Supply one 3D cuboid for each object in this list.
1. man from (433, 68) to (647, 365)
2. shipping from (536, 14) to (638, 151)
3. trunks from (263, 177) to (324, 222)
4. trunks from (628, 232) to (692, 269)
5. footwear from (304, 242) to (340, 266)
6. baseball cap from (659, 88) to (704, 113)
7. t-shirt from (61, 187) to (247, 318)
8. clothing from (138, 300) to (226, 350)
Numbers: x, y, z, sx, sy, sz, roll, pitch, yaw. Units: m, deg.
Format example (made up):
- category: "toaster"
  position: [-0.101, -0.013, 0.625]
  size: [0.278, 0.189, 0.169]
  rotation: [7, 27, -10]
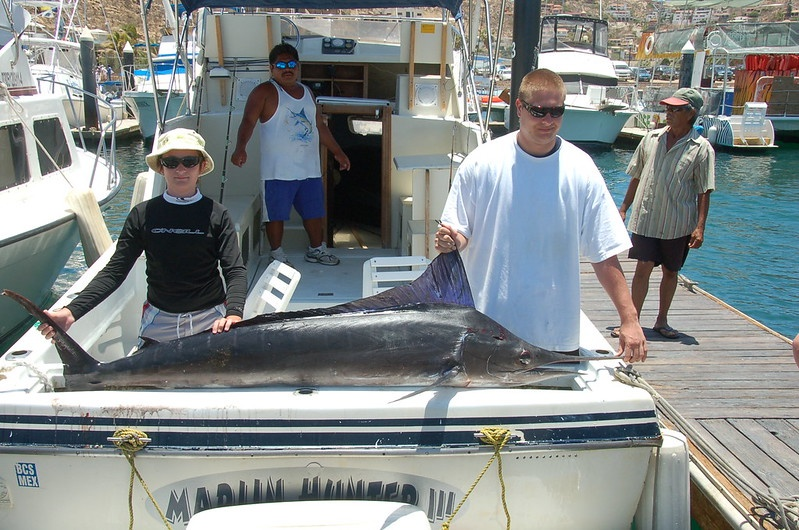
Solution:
- category: "man"
  position: [0.795, 0.164, 4.194]
  size: [1.195, 2.372, 0.873]
  rotation: [7, 27, 14]
- category: "shipping"
  position: [5.648, -6.728, 24.261]
  size: [2.743, 3.052, 7.861]
  rotation: [-1, 28, -4]
- category: "trunks"
  position: [-0.945, -0.511, 6.409]
  size: [0.635, 0.492, 0.355]
  rotation: [-5, 25, -11]
- category: "trunks"
  position: [2.157, -0.130, 5.969]
  size: [0.295, 0.231, 0.166]
  rotation: [10, 9, 12]
- category: "footwear"
  position: [-0.709, -0.091, 6.601]
  size: [0.364, 0.180, 0.146]
  rotation: [13, 22, 6]
- category: "baseball cap"
  position: [2.304, -1.350, 5.833]
  size: [0.304, 0.161, 0.196]
  rotation: [6, 17, 0]
- category: "t-shirt"
  position: [-1.391, -0.029, 4.235]
  size: [1.208, 0.795, 0.699]
  rotation: [3, 14, 12]
- category: "clothing"
  position: [-1.343, 0.353, 4.323]
  size: [0.507, 0.336, 0.259]
  rotation: [-1, 11, -3]
